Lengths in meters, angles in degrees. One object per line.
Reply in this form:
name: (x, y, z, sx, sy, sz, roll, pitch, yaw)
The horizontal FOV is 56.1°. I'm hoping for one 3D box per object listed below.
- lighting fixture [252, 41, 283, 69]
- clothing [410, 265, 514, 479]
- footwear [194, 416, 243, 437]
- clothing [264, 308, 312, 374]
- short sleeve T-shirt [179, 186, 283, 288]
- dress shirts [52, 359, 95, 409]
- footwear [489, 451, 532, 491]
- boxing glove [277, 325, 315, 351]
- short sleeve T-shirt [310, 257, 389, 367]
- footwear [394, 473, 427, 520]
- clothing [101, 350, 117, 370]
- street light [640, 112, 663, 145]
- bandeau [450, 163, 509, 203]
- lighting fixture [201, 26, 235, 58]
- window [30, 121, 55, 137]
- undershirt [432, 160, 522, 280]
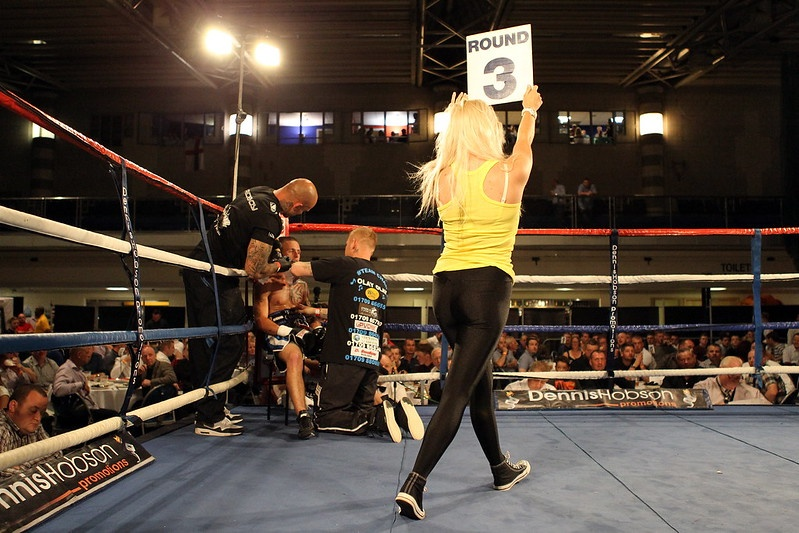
lighting fixture: (-2.671, -4.326, 15.151, 0.435, 0.462, 0.525, -1, 1, -1)
clothing: (0.691, 1.050, 7.192, 0.837, 2.030, 1.556, -3, -12, 32)
footwear: (-1.975, 1.735, 8.077, 0.562, 0.237, 0.179, 2, -11, -7)
clothing: (-1.268, 0.813, 8.327, 0.575, 0.620, 0.297, 12, 0, -35)
short sleeve T-shirt: (-1.741, -0.402, 8.257, 0.527, 0.986, 0.810, -1, 43, -48)
dress shirts: (-4.494, 1.626, 10.315, 0.317, 0.412, 0.568, -6, -16, -6)
footwear: (1.073, 1.937, 7.212, 0.485, 0.256, 0.202, -16, 12, -43)
boxing glove: (-1.150, 0.801, 8.321, 0.347, 0.152, 0.294, 8, -5, 38)
short sleeve T-shirt: (-0.590, 0.563, 8.444, 0.687, 1.143, 1.245, 0, -16, 26)
footwear: (0.112, 2.073, 6.812, 0.221, 0.296, 0.442, 3, -35, 20)
clothing: (-5.029, 1.627, 13.045, 0.264, 0.409, 0.460, 2, -9, -20)
street light: (7.185, -3.961, 21.856, 0.833, 0.847, 0.827, -1, 1, 24)
bandeau: (0.859, -0.807, 6.979, 0.307, 0.160, 0.330, -21, -36, 1)
lighting fixture: (-3.556, -4.426, 14.682, 0.526, 0.487, 0.464, 0, 1, 13)
window: (-10.357, -3.908, 21.777, 0.537, 0.391, 0.900, -1, 1, -32)
undershirt: (0.767, -0.477, 7.300, 0.902, 1.135, 0.620, 4, 6, 28)
